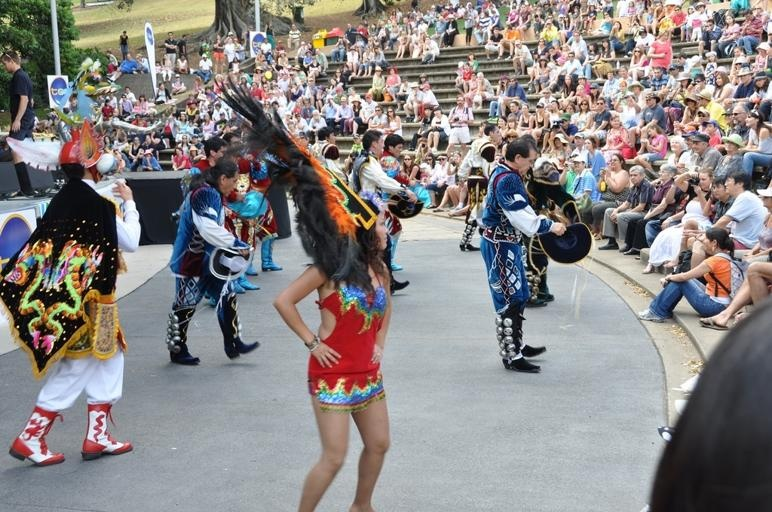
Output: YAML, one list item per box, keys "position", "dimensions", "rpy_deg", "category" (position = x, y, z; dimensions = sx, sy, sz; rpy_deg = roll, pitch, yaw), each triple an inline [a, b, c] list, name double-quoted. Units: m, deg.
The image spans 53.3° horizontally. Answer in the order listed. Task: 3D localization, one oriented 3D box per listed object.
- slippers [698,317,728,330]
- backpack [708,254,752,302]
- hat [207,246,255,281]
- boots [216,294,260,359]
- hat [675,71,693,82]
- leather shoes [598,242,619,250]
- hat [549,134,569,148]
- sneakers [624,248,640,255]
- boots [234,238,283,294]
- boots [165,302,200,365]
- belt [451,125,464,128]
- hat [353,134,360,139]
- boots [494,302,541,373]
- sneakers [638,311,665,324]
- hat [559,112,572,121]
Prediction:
- position: [3.551, 0.743, 8.320]
  dimensions: [0.154, 0.073, 0.269]
  rpy_deg: [-9, 15, -36]
  category: "slippers"
- position: [3.983, 0.256, 8.495]
  dimensions: [0.427, 0.504, 0.537]
  rpy_deg: [-4, 9, -41]
  category: "backpack"
- position: [-1.596, 0.093, 7.761]
  dimensions: [0.433, 0.367, 0.254]
  rpy_deg: [-2, 14, -3]
  category: "hat"
- position: [-1.558, 0.729, 8.020]
  dimensions: [0.385, 0.680, 0.285]
  rpy_deg: [-5, 14, -13]
  category: "boots"
- position: [5.997, -3.603, 15.396]
  dimensions: [0.440, 0.127, 0.409]
  rpy_deg: [-5, 5, -36]
  category: "hat"
- position: [3.737, -0.163, 12.965]
  dimensions: [0.363, 0.136, 0.116]
  rpy_deg: [3, 1, 6]
  category: "leather shoes"
- position: [3.410, -2.265, 14.978]
  dimensions: [0.298, 0.115, 0.261]
  rpy_deg: [16, -16, -30]
  category: "hat"
- position: [3.946, -0.065, 12.317]
  dimensions: [0.076, 0.087, 0.223]
  rpy_deg: [2, 1, -42]
  category: "sneakers"
- position: [-1.768, 0.167, 10.603]
  dimensions: [0.349, 0.584, 0.694]
  rpy_deg: [8, 23, 21]
  category: "boots"
- position: [-2.106, 0.806, 7.919]
  dimensions: [0.305, 0.599, 0.335]
  rpy_deg: [-5, 14, -14]
  category: "boots"
- position: [1.856, -3.324, 19.778]
  dimensions: [0.212, 0.049, 0.200]
  rpy_deg: [0, 4, 0]
  category: "belt"
- position: [-0.832, -3.400, 21.940]
  dimensions: [0.226, 0.109, 0.344]
  rpy_deg: [2, 3, 18]
  category: "hat"
- position: [1.354, 0.783, 7.598]
  dimensions: [0.510, 0.705, 0.306]
  rpy_deg: [3, 8, 39]
  category: "boots"
- position: [3.125, 0.722, 9.072]
  dimensions: [0.274, 0.125, 0.102]
  rpy_deg: [14, 16, 35]
  category: "sneakers"
- position: [3.722, -2.911, 15.926]
  dimensions: [0.223, 0.165, 0.303]
  rpy_deg: [3, 3, 26]
  category: "hat"
